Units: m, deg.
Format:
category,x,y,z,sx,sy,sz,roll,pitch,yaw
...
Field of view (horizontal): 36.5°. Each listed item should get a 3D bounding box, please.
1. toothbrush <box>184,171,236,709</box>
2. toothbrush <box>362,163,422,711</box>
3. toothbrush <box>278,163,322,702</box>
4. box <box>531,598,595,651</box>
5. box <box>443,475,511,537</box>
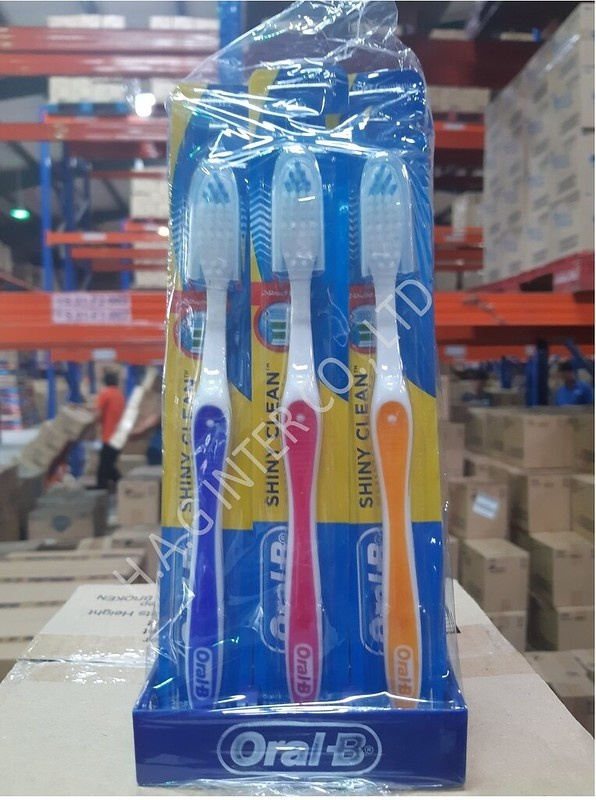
category,x,y,z,sx,sy,sz,roll,pitch,yaw
toothbrush,-0.075,0.026,0.766,0.039,0.452,0.044,1,3,14
toothbrush,0.076,0.033,0.755,0.050,0.451,0.034,-1,0,10
toothbrush,-0.001,0.022,0.759,0.041,0.460,0.036,0,3,-1
box,0.347,0.294,1.180,0.064,0.050,0.073,0,0,-3
box,0.235,0.141,1.184,0.077,0.086,0.034,1,3,14
